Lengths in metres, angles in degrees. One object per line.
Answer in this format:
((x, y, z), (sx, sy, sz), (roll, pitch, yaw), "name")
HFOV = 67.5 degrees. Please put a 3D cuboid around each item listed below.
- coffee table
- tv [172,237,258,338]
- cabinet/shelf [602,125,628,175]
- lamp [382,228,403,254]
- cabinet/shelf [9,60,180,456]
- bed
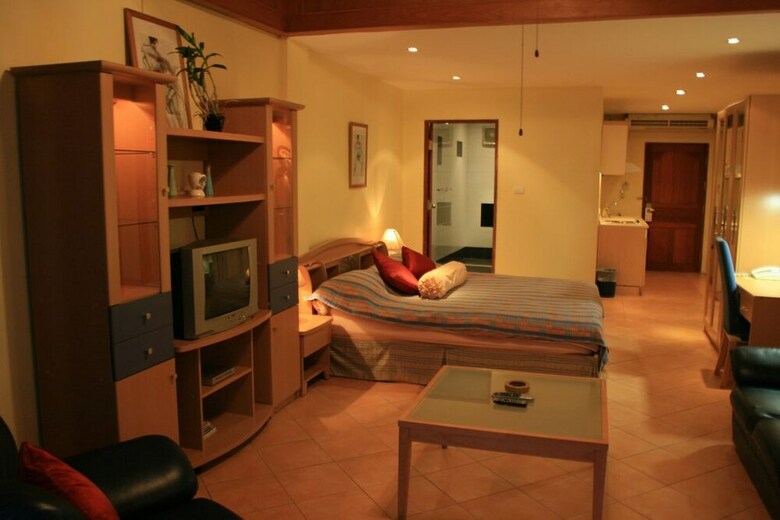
((0.786, 1.201, 3.922), (1.225, 0.642, 1.223), (5, 15, 17), "coffee table")
((-1.226, 0.197, 4.039), (0.379, 0.588, 0.694), (3, 7, 25), "tv")
((3.516, -1.755, 9.151), (0.384, 0.808, 0.248), (5, 15, 19), "cabinet/shelf")
((0.041, -0.259, 7.589), (0.281, 0.313, 0.319), (-1, 12, 27), "lamp")
((-1.791, 0.022, 3.485), (0.874, 2.304, 0.656), (1, 15, 2), "cabinet/shelf")
((0.648, 0.528, 5.497), (2.254, 0.876, 1.506), (2, 14, 14), "bed")
